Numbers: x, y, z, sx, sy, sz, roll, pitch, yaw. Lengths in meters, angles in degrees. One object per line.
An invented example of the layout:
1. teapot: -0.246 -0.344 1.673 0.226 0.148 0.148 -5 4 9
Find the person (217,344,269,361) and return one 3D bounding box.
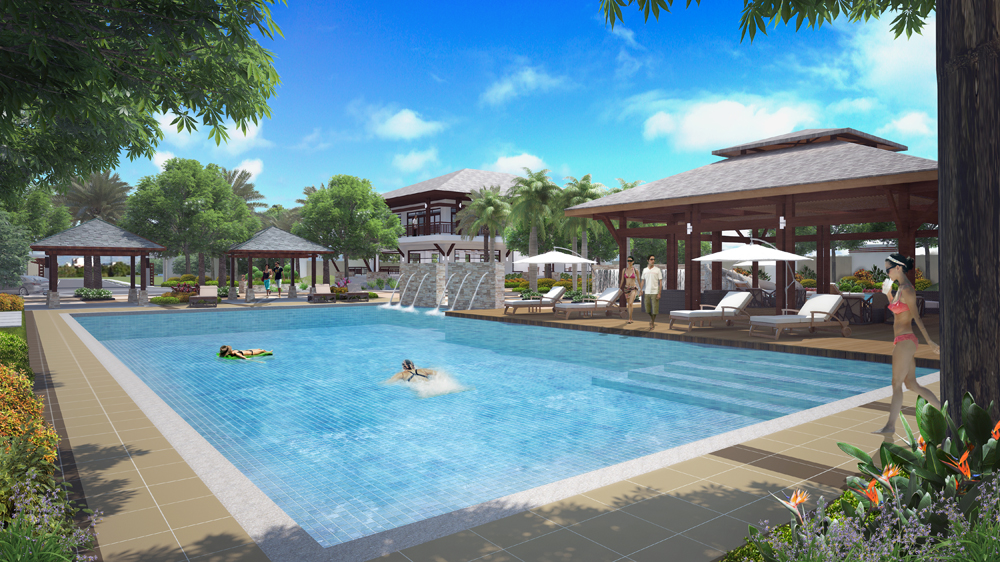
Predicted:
1. person: -6.995 1.950 16.219 0.881 0.231 0.613 3 -4 -32

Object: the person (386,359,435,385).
1. person: -1.981 1.989 13.292 0.990 0.378 0.733 0 0 -6

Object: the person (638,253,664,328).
1. person: 4.697 0.323 18.585 0.568 2.193 1.203 0 0 12

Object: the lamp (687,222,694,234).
1. lamp: 6.574 -1.819 20.776 0.131 0.395 0.266 0 0 -12

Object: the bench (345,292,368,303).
1. bench: -8.141 0.863 33.819 0.752 0.430 1.460 0 0 17

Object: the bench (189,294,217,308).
1. bench: -14.681 0.998 29.276 1.151 0.496 0.884 0 0 -29
